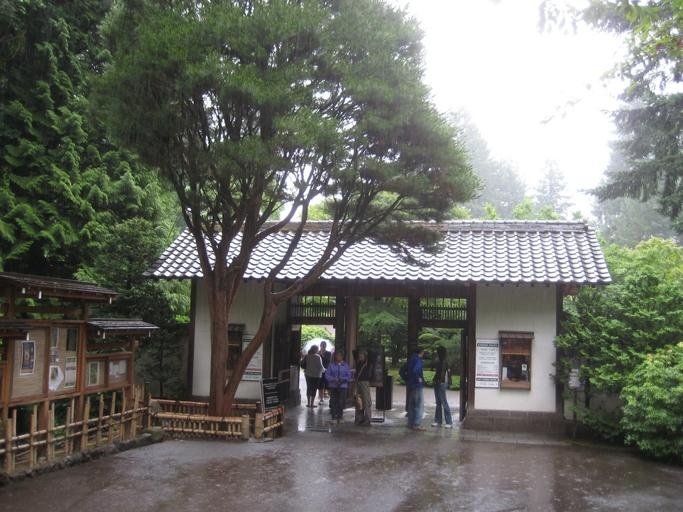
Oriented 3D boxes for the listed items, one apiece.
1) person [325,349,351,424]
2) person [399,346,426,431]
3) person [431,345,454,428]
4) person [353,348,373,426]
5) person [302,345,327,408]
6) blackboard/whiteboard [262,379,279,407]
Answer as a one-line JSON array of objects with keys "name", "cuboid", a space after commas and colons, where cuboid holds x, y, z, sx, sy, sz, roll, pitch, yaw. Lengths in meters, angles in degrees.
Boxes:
[{"name": "person", "cuboid": [-0.098, 3.666, 15.689, 0.678, 1.987, 0.607, 2, 8, -6]}, {"name": "person", "cuboid": [2.068, 3.702, 15.443, 0.570, 2.172, 0.962, 2, -2, -6]}, {"name": "person", "cuboid": [2.977, 3.749, 15.839, 0.560, 2.300, 1.130, 2, -2, 11]}, {"name": "person", "cuboid": [0.624, 3.748, 15.610, 0.480, 2.070, 0.463, 2, -2, 1]}, {"name": "person", "cuboid": [-0.964, 4.111, 18.715, 0.792, 2.147, 1.368, 2, -2, -4]}, {"name": "blackboard/whiteboard", "cuboid": [-1.853, 3.544, 14.113, 0.078, 0.656, 0.557, -11, -19, 31]}]
